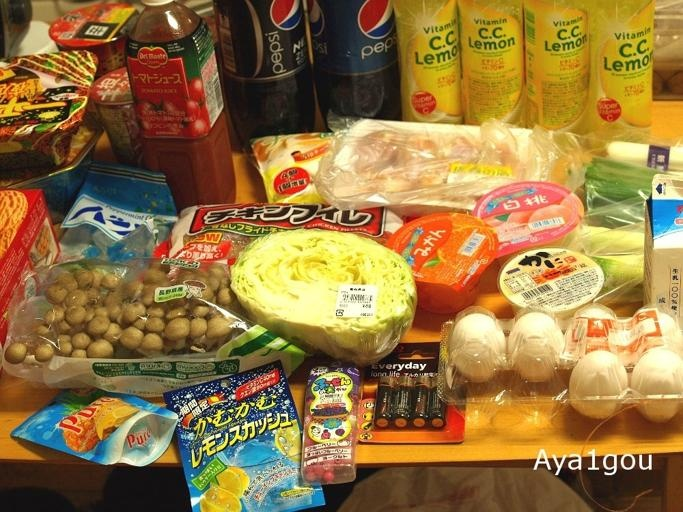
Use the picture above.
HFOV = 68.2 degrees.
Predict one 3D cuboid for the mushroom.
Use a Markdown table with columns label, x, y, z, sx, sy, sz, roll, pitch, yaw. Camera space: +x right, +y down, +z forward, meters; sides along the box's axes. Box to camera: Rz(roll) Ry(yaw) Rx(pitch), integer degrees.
| label | x | y | z | sx | sy | sz | roll | pitch | yaw |
| --- | --- | --- | --- | --- | --- | --- | --- | --- | --- |
| mushroom | -0.279 | 0.072 | 0.672 | 0.257 | 0.061 | 0.126 | -4 | 65 | 0 |
